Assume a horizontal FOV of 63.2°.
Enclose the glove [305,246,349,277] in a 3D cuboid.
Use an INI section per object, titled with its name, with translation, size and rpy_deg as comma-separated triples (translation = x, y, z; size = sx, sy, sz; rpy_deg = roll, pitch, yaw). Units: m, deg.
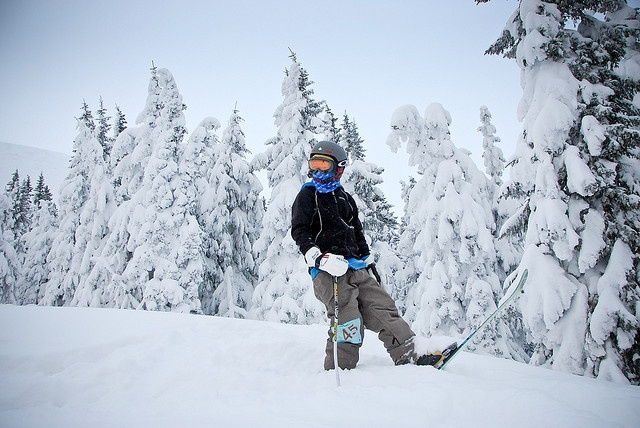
[glove]
translation = 0.146, 1.072, 11.434
size = 0.737, 0.381, 0.596
rpy_deg = 4, -35, 31
